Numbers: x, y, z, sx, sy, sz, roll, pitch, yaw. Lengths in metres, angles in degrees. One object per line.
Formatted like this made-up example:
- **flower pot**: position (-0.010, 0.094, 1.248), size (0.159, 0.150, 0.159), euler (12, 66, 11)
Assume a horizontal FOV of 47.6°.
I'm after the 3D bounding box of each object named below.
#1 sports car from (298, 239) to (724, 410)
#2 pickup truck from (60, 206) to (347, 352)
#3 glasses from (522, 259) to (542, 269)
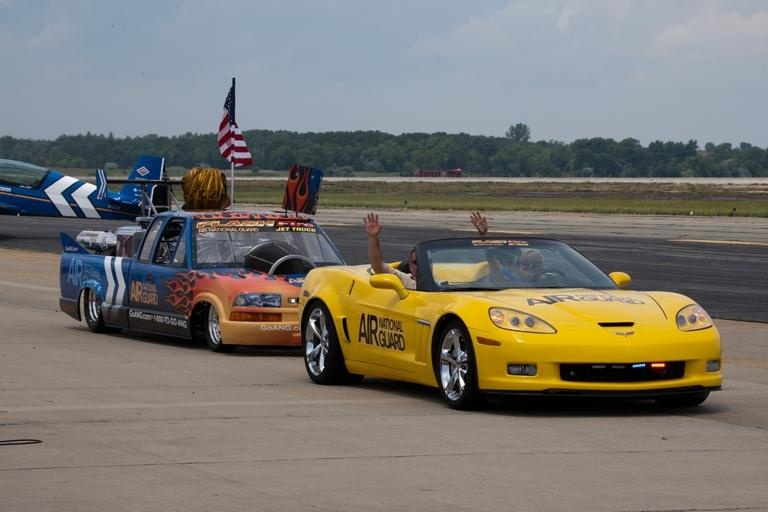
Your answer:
- **sports car**: position (0.953, 0.630, 9.127), size (2.087, 0.990, 3.421), euler (1, -4, -32)
- **pickup truck**: position (-2.843, 0.263, 13.004), size (2.221, 1.067, 3.592), euler (1, 0, -38)
- **glasses**: position (1.573, 0.091, 9.234), size (0.124, 0.043, 0.127), euler (5, -11, -5)
